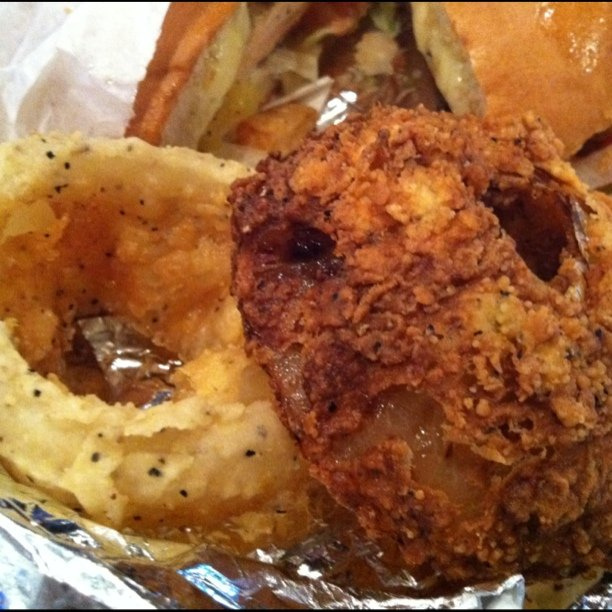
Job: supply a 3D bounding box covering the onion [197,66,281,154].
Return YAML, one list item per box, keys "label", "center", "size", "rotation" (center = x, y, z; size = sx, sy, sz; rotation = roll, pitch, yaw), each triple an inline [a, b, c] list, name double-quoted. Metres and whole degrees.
- label: "onion"
  center: [-0.112, -0.345, 1.569]
  size: [0.177, 0.133, 0.041]
  rotation: [-38, 86, -6]
